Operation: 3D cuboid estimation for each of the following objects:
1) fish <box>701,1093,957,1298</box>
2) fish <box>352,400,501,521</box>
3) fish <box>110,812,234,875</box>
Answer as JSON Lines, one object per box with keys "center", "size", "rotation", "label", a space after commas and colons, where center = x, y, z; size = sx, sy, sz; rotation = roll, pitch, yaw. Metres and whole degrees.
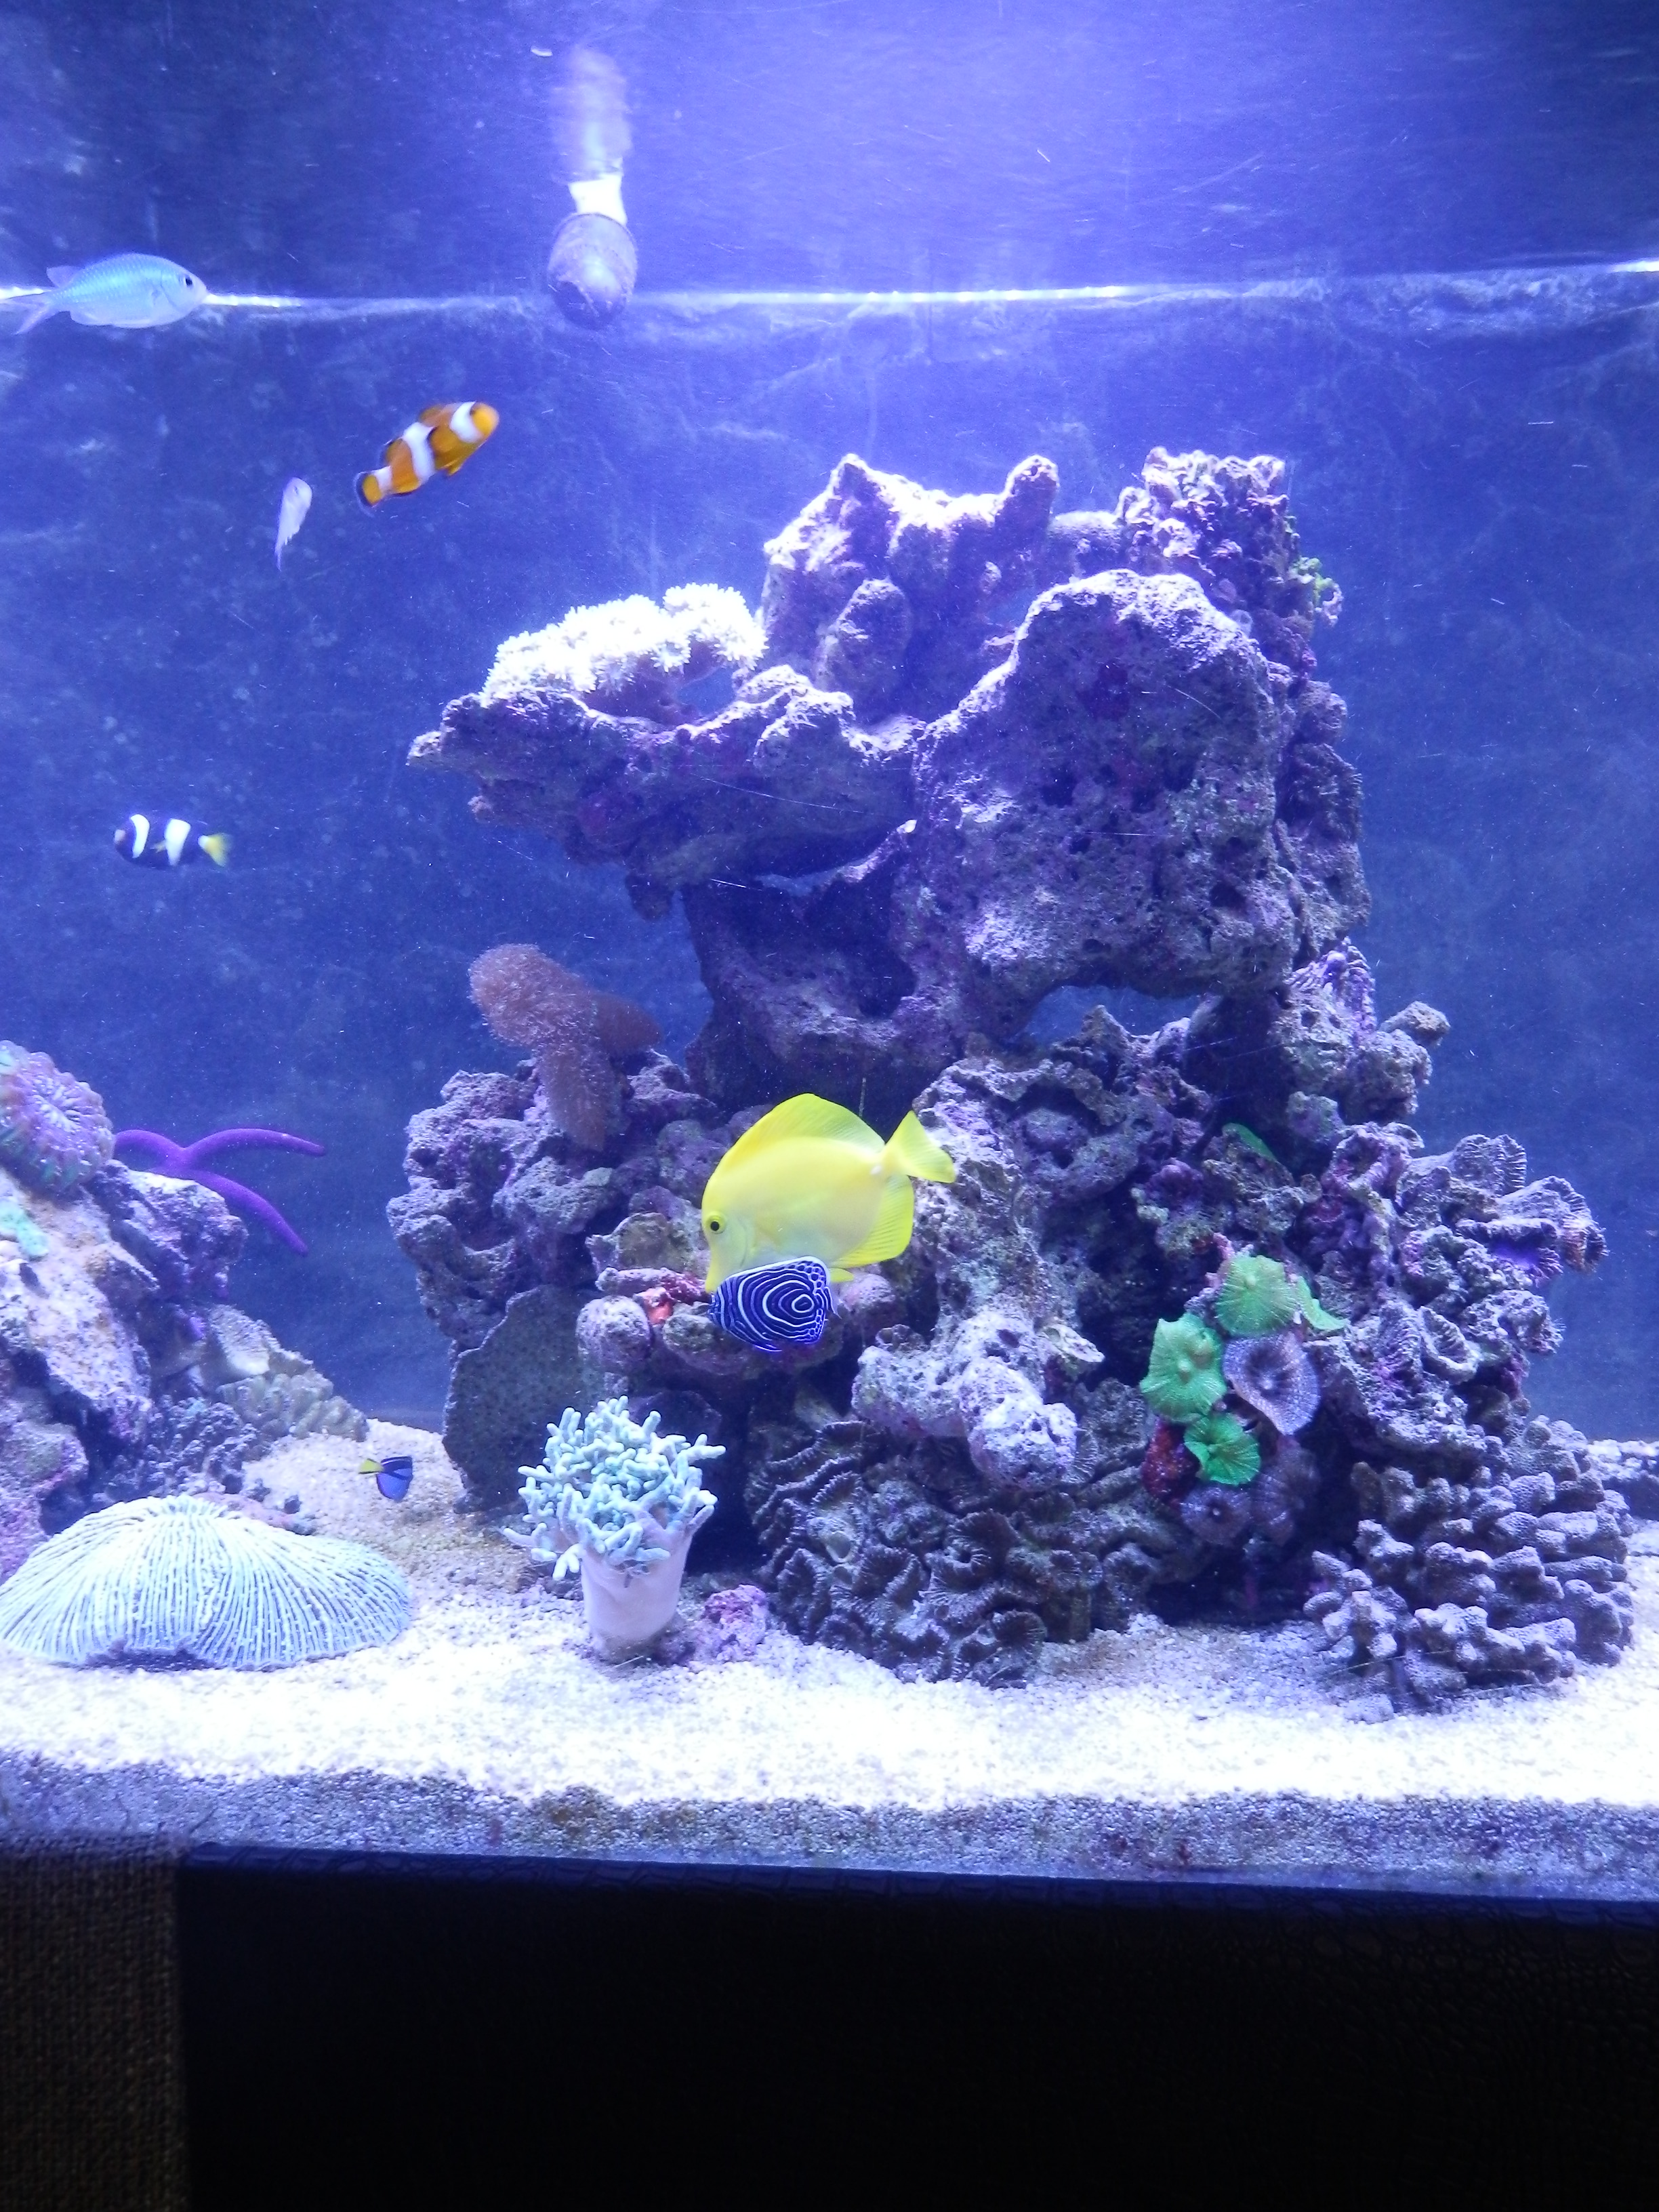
{"center": [0.022, 0.216, 4.672], "size": [0.585, 0.419, 0.156], "rotation": [-9, 2, -18], "label": "fish"}
{"center": [-0.923, -1.462, 4.922], "size": [0.332, 0.284, 0.247], "rotation": [-3, 3, -27], "label": "fish"}
{"center": [-1.871, -0.743, 6.340], "size": [0.347, 0.175, 0.116], "rotation": [-4, 33, -47], "label": "fish"}
